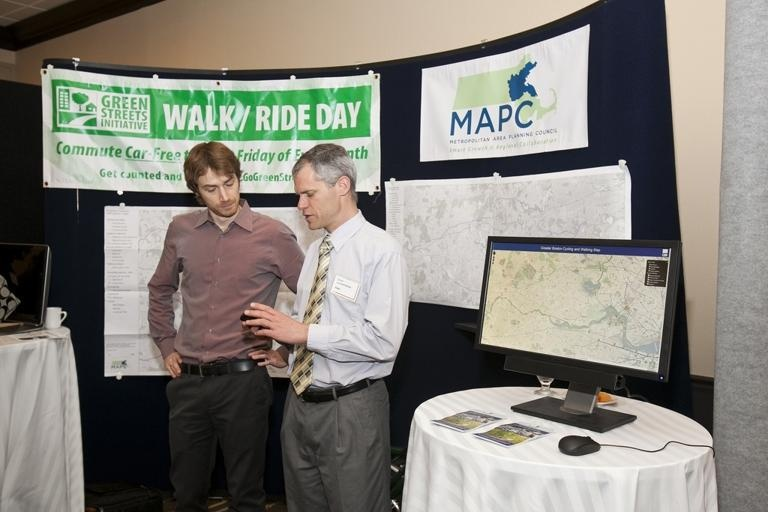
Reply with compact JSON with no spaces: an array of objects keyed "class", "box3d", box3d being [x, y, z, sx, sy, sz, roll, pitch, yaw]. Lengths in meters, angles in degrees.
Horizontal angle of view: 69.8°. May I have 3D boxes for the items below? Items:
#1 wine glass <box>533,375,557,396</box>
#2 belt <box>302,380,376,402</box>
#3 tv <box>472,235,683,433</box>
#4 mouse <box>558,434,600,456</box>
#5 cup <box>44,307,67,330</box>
[{"class":"wine glass","box3d":[0.689,0.565,2.370,0.106,0.111,0.116,0,-6,-2]},{"class":"belt","box3d":[-0.213,0.591,2.396,0.170,0.052,0.142,-10,-1,-6]},{"class":"tv","box3d":[0.783,0.310,2.188,0.736,0.655,0.264,2,2,38]},{"class":"mouse","box3d":[0.676,0.663,1.924,0.105,0.032,0.071,-5,6,-20]},{"class":"cup","box3d":[-1.919,0.369,3.237,0.161,0.143,0.101,10,-8,-40]}]
